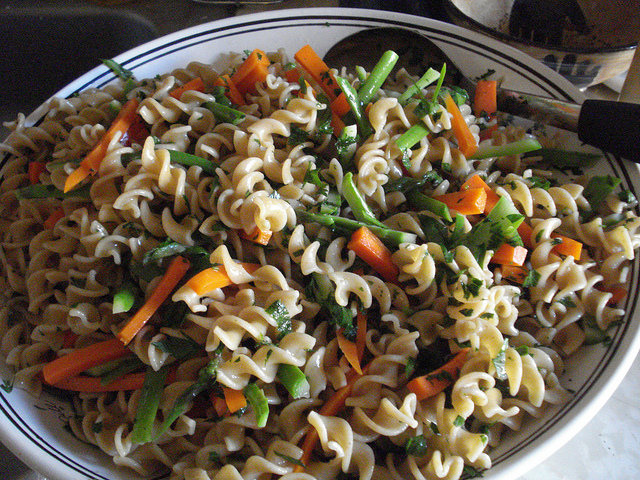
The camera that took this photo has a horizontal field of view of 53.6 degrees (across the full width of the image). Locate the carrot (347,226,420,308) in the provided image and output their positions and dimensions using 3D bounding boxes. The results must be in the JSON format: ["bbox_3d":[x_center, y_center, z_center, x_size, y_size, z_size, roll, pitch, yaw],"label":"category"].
[{"bbox_3d":[0.309,0.092,3.125,0.378,0.157,0.136,39,86,2],"label":"carrot"}]

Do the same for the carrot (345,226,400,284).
[{"bbox_3d":[0.268,0.102,3.147,0.119,0.356,0.108,-43,51,25],"label":"carrot"}]

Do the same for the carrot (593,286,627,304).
[{"bbox_3d":[1.463,0.256,3.185,0.101,0.103,0.102,-33,86,-3],"label":"carrot"}]

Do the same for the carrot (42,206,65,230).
[{"bbox_3d":[-1.405,-0.113,3.349,0.110,0.037,0.109,-46,52,2],"label":"carrot"}]

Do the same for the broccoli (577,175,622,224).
[{"bbox_3d":[1.471,-0.259,3.348,0.120,0.078,0.330,33,109,28],"label":"broccoli"}]

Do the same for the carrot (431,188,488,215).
[{"bbox_3d":[0.718,-0.196,3.170,0.223,0.075,0.135,12,47,27],"label":"carrot"}]

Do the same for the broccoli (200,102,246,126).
[{"bbox_3d":[-0.518,-0.695,3.427,0.303,0.080,0.092,30,92,36],"label":"broccoli"}]

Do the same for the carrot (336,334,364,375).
[{"bbox_3d":[0.154,0.550,3.098,0.122,0.495,0.128,13,96,4],"label":"carrot"}]

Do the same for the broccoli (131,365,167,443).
[{"bbox_3d":[-0.804,0.747,2.974,0.089,0.068,0.369,27,61,-24],"label":"broccoli"}]

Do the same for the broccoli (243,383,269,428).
[{"bbox_3d":[-0.294,0.734,2.931,0.076,0.056,0.243,-38,57,22],"label":"broccoli"}]

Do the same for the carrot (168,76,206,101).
[{"bbox_3d":[-0.742,-0.839,3.521,0.240,0.071,0.070,-38,44,-15],"label":"carrot"}]

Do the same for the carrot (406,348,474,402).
[{"bbox_3d":[0.579,0.639,2.972,0.351,0.081,0.120,-29,86,-3],"label":"carrot"}]

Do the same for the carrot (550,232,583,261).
[{"bbox_3d":[1.233,0.044,3.256,0.100,0.200,0.043,26,58,8],"label":"carrot"}]

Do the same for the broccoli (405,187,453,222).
[{"bbox_3d":[0.543,-0.187,3.251,0.090,0.087,0.333,-47,46,7],"label":"broccoli"}]

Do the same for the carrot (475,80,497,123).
[{"bbox_3d":[0.948,-0.796,3.612,0.066,0.167,0.215,3,102,40],"label":"carrot"}]

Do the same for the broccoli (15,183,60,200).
[{"bbox_3d":[-1.502,-0.260,3.361,0.242,0.060,0.075,-1,85,-1],"label":"broccoli"}]

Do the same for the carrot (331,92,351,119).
[{"bbox_3d":[0.107,-0.719,3.396,0.070,0.103,0.104,-17,61,-19],"label":"carrot"}]

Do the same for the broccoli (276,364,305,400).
[{"bbox_3d":[-0.132,0.643,2.930,0.086,0.052,0.168,-53,43,17],"label":"broccoli"}]

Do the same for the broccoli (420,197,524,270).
[{"bbox_3d":[0.767,-0.015,3.135,0.475,0.159,0.326,-10,86,-2],"label":"broccoli"}]

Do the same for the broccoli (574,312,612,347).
[{"bbox_3d":[1.320,0.430,3.166,0.062,0.241,0.180,-39,105,-13],"label":"broccoli"}]

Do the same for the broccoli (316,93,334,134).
[{"bbox_3d":[0.022,-0.672,3.399,0.100,0.048,0.202,-15,83,15],"label":"broccoli"}]

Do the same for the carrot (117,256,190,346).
[{"bbox_3d":[-0.792,0.302,3.059,0.105,0.098,0.418,13,66,52],"label":"carrot"}]

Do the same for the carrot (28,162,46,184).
[{"bbox_3d":[-1.544,-0.378,3.495,0.095,0.098,0.122,-7,79,40],"label":"carrot"}]

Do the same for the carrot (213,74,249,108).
[{"bbox_3d":[-0.488,-0.821,3.525,0.055,0.110,0.238,-32,76,42],"label":"carrot"}]

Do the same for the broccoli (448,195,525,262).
[{"bbox_3d":[0.846,-0.056,3.106,0.252,0.120,0.343,29,76,14],"label":"broccoli"}]

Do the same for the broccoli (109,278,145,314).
[{"bbox_3d":[-0.954,0.288,3.094,0.159,0.268,0.066,35,97,-16],"label":"broccoli"}]
